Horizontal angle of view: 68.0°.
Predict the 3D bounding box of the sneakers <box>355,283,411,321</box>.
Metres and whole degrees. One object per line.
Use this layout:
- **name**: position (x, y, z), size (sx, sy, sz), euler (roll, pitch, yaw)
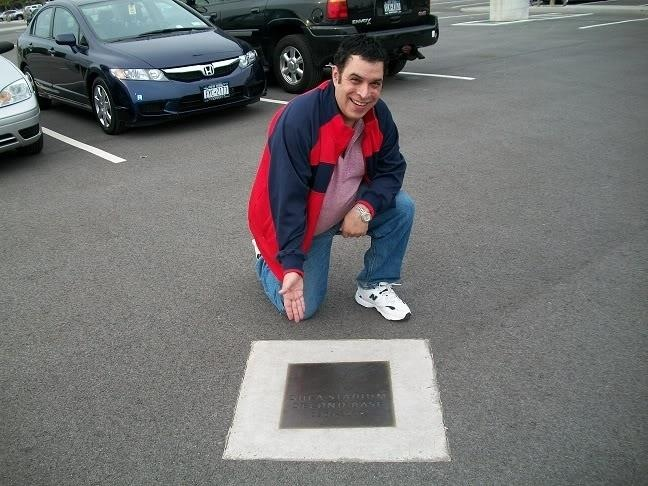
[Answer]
- **sneakers**: position (0.354, 0.355, 3.040), size (0.365, 0.174, 0.157), euler (22, 41, 37)
